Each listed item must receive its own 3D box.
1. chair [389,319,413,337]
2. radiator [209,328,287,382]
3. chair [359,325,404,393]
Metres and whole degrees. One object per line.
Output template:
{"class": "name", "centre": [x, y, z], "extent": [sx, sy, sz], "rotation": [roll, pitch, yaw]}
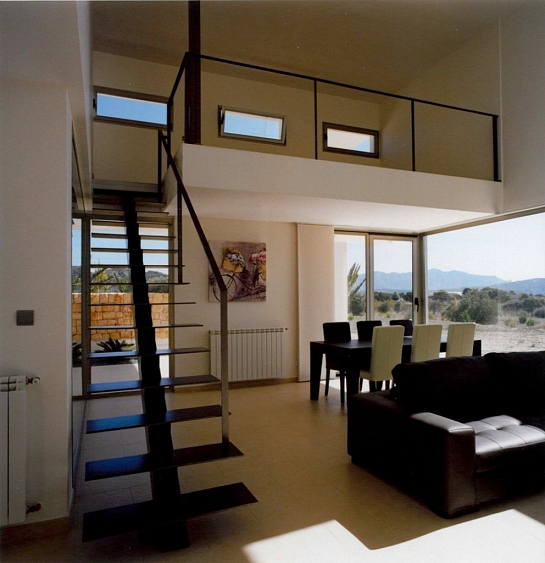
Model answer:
{"class": "chair", "centre": [1.784, 0.609, 6.493], "extent": [0.303, 0.213, 0.280], "rotation": [2, 10, -30]}
{"class": "radiator", "centre": [-0.282, 1.025, 6.772], "extent": [0.818, 0.776, 0.078], "rotation": [-5, 7, 17]}
{"class": "chair", "centre": [1.196, 0.826, 4.987], "extent": [0.296, 0.790, 0.388], "rotation": [7, -14, 17]}
